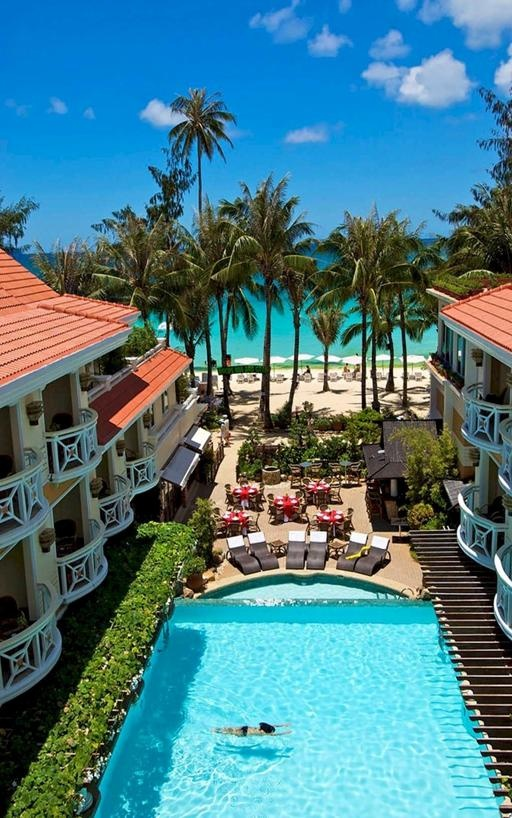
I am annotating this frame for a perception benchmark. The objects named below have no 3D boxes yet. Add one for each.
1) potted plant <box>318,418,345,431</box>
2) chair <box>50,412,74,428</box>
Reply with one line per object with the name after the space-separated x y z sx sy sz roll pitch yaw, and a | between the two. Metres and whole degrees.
5.196 1.037 33.285 1.126 0.719 1.066 -1 8 4 | potted plant
-4.218 0.238 10.393 0.359 0.456 0.457 -2 4 -18 | chair
